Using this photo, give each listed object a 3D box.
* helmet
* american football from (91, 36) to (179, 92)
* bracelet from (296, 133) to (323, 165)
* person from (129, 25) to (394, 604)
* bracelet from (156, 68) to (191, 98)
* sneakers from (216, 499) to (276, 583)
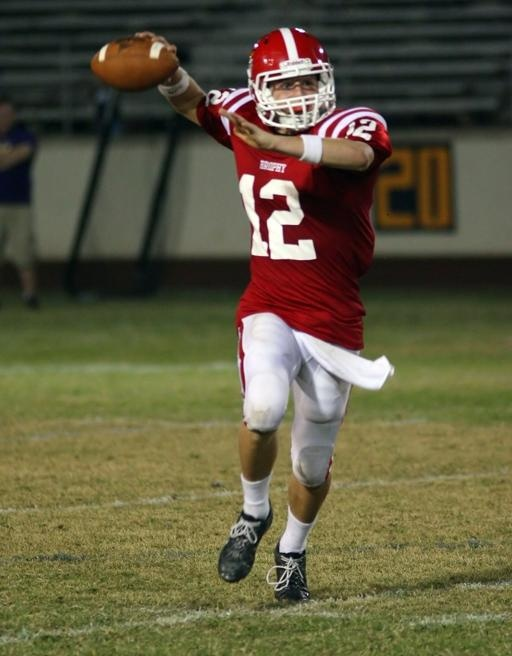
[{"bbox_3d":[0.071,-0.632,2.515,0.224,0.212,0.264,-11,36,-3],"label":"helmet"},{"bbox_3d":[-0.312,-0.717,2.740,0.254,0.137,0.153,9,37,30],"label":"american football"},{"bbox_3d":[0.117,-0.385,2.197,0.048,0.059,0.041,0,9,2],"label":"bracelet"},{"bbox_3d":[0.098,-0.070,2.559,0.453,1.367,0.653,0,9,-3],"label":"person"},{"bbox_3d":[-0.223,-0.659,2.775,0.084,0.085,0.070,-3,39,0],"label":"bracelet"},{"bbox_3d":[-0.025,0.510,2.513,0.079,0.082,0.215,25,49,11],"label":"sneakers"}]
